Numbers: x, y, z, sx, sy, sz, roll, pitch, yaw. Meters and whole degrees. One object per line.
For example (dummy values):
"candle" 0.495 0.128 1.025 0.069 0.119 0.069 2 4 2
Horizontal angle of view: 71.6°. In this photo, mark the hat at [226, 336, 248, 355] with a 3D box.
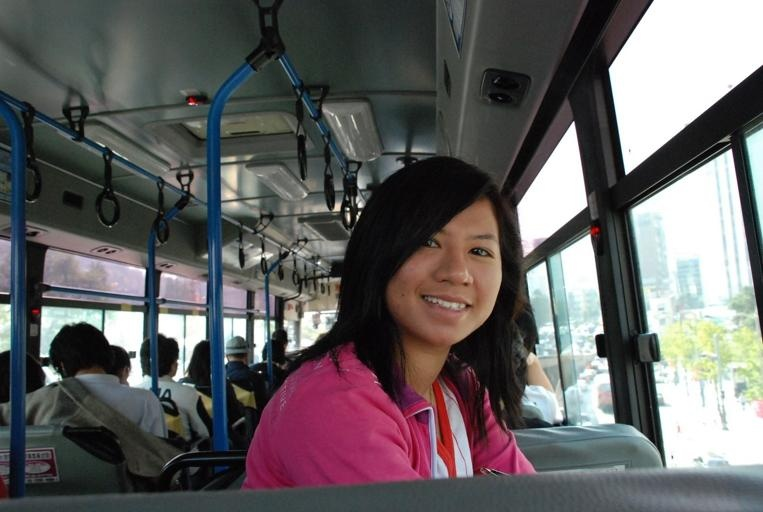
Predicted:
"hat" -1.788 1.100 6.524 0.213 0.160 0.300 -1 -2 -7

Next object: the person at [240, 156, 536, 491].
"person" 0.129 0.233 1.897 0.584 1.123 1.103 -11 -17 38

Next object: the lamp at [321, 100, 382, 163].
"lamp" -0.225 -1.001 4.258 0.227 0.452 0.450 -8 -25 12
